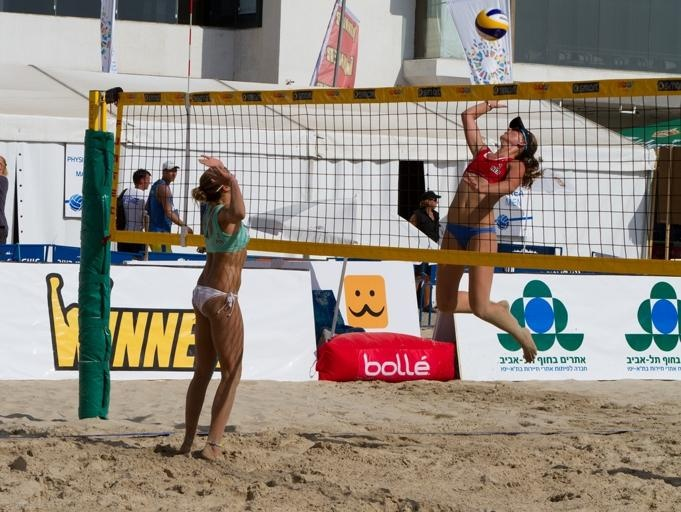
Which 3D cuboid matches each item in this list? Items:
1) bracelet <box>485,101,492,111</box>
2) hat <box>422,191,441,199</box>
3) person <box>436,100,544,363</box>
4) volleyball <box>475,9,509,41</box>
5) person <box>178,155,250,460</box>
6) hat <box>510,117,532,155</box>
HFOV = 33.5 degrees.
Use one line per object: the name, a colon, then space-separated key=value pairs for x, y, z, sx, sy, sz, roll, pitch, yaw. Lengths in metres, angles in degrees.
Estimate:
bracelet: x=1.611 y=-1.627 z=12.256 sx=0.062 sy=0.092 sz=0.025 roll=-9 pitch=-11 yaw=35
hat: x=1.297 y=-0.879 z=16.462 sx=0.244 sy=0.108 sz=0.165 roll=-1 pitch=4 yaw=-19
person: x=1.710 y=-0.413 z=12.290 sx=1.170 sy=2.979 sz=0.957 roll=9 pitch=-13 yaw=14
volleyball: x=2.018 y=-3.099 z=14.945 sx=0.377 sy=0.425 sz=0.396 roll=21 pitch=17 yaw=9
person: x=-1.253 y=0.511 z=11.335 sx=0.597 sy=2.986 sz=0.374 roll=3 pitch=4 yaw=8
hat: x=1.945 y=-1.317 z=12.281 sx=0.176 sy=0.368 sz=0.273 roll=-24 pitch=11 yaw=1
